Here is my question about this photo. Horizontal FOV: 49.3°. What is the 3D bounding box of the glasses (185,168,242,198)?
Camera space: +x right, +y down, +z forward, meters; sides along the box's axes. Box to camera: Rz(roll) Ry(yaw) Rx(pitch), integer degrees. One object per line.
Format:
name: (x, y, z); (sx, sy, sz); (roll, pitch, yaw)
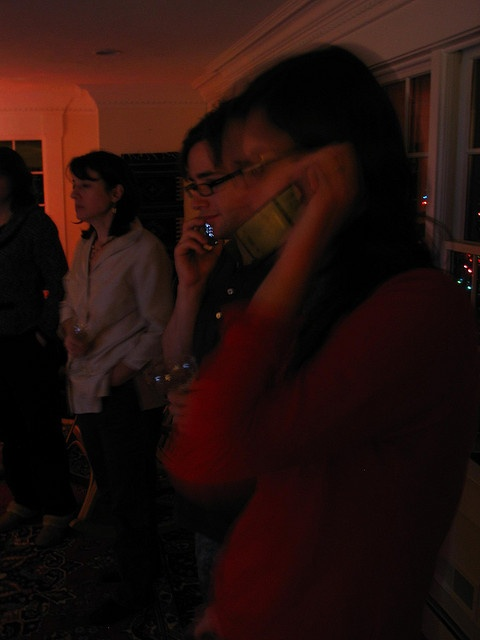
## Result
glasses: (-0.034, -0.168, 0.655); (0.052, 0.013, 0.048); (-30, 21, -18)

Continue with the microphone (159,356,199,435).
microphone: (-0.085, 0.100, 0.726); (0.054, 0.042, 0.155); (-10, -19, -5)

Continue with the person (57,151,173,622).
person: (-0.443, 0.238, 2.020); (0.417, 1.781, 0.445); (-7, 10, -19)
